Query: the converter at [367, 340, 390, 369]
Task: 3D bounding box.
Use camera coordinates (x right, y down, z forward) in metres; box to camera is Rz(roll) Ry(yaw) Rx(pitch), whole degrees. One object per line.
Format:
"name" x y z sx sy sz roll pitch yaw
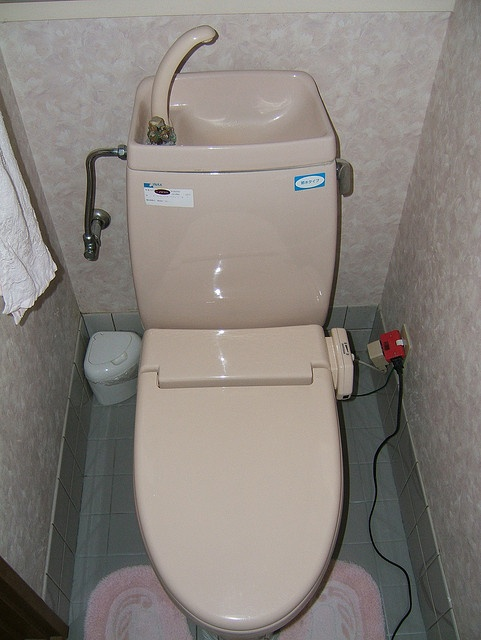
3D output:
"converter" 0.327 0.082 1.239 0.032 0.064 0.037 -17 51 7
